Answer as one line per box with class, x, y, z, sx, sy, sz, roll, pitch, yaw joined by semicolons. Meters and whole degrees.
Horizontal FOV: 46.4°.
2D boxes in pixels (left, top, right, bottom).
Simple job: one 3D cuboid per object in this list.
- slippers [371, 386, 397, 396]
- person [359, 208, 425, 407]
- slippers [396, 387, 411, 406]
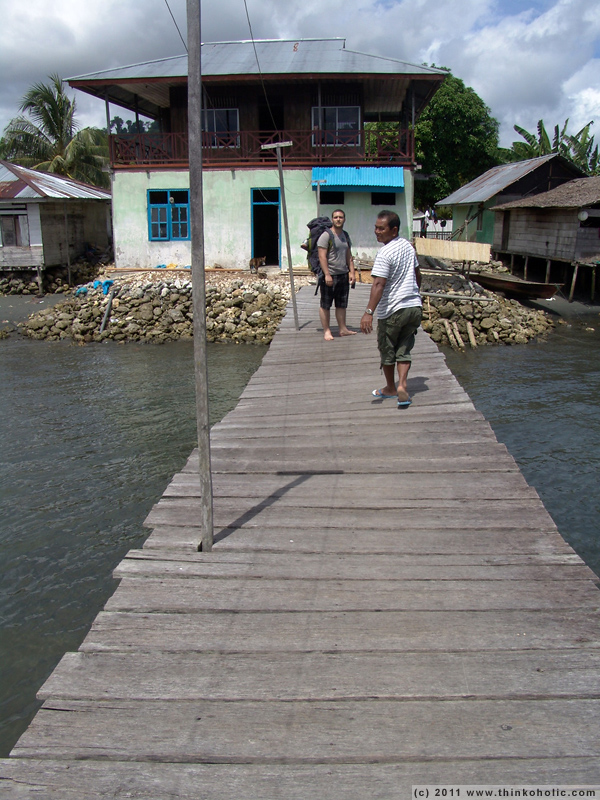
slippers;0.780;-0.085;6.692;0.177;0.052;0.087;2;15;7
person;0.826;-0.848;6.414;0.528;1.731;0.836;0;14;8
slippers;0.943;-0.045;6.344;0.084;0.143;0.219;-1;20;15
